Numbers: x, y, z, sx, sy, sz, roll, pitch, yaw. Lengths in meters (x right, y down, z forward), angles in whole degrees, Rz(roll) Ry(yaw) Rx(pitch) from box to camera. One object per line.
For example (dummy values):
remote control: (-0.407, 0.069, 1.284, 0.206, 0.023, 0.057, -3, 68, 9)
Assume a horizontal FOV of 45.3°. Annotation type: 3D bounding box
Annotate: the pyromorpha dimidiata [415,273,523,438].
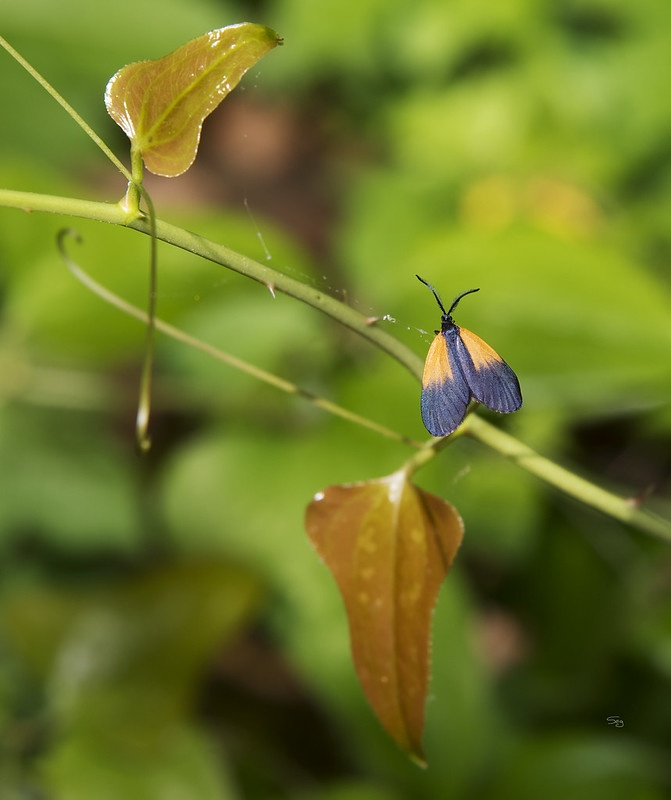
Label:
pyromorpha dimidiata: (0.082, -0.029, 0.477, 0.054, 0.020, 0.078, -15, 65, -5)
